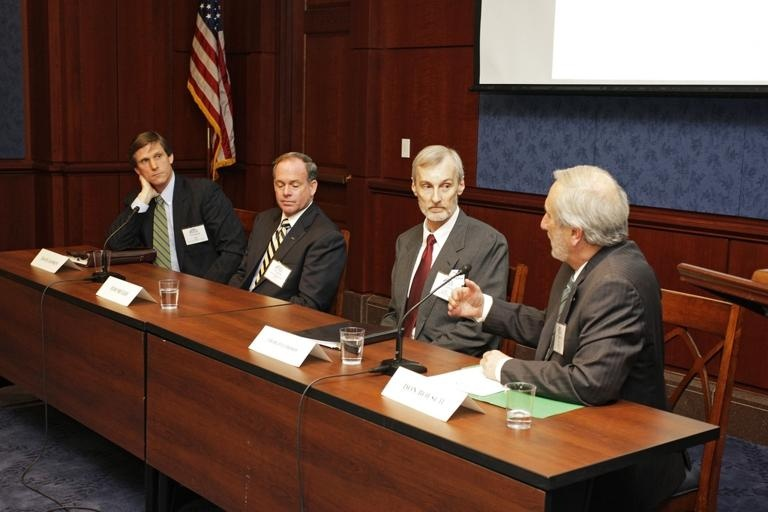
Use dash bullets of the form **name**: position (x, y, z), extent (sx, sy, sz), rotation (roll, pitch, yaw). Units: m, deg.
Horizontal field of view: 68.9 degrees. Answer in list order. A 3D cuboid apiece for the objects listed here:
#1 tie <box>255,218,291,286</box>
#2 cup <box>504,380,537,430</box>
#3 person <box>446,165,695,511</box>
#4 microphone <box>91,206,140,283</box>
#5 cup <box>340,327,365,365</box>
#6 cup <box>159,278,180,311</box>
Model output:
- **tie**: position (-0.685, -0.012, 3.473), extent (0.069, 0.443, 0.051), rotation (25, -9, -1)
- **cup**: position (0.410, 0.464, 1.697), extent (0.094, 0.114, 0.097), rotation (2, -9, 0)
- **person**: position (0.633, 0.250, 1.999), extent (0.836, 1.126, 0.761), rotation (10, 14, 40)
- **microphone**: position (-1.545, -0.069, 3.225), extent (0.224, 0.409, 0.104), rotation (1, -12, -23)
- **cup**: position (-0.122, 0.345, 2.133), extent (0.103, 0.129, 0.109), rotation (0, -11, 0)
- **cup**: position (-1.036, 0.184, 2.708), extent (0.096, 0.133, 0.097), rotation (-3, -2, 0)
